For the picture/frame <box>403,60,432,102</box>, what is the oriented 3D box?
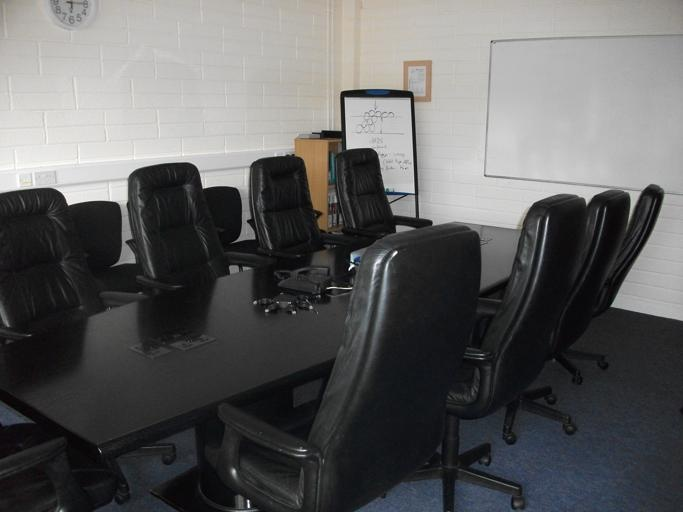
[{"bbox_3d":[0.846,-1.936,5.655,0.370,0.463,0.035,-7,18,-21],"label":"picture/frame"}]
